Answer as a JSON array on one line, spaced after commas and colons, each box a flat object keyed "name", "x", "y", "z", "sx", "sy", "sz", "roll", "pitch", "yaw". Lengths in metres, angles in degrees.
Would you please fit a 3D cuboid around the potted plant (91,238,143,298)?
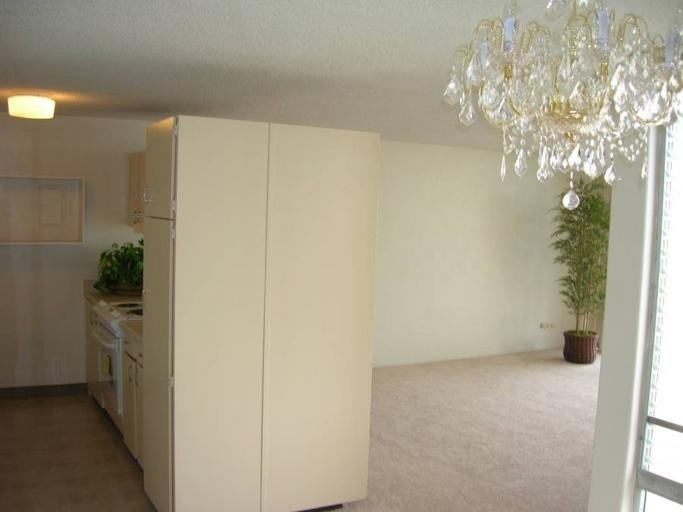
[{"name": "potted plant", "x": -2.298, "y": 0.095, "z": 5.681, "sx": 0.470, "sy": 0.542, "sz": 0.372, "roll": -11, "pitch": 16, "yaw": -9}]

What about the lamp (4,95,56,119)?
[{"name": "lamp", "x": -2.587, "y": -1.263, "z": 4.519, "sx": 0.309, "sy": 0.184, "sz": 0.264, "roll": -4, "pitch": 10, "yaw": -37}]
